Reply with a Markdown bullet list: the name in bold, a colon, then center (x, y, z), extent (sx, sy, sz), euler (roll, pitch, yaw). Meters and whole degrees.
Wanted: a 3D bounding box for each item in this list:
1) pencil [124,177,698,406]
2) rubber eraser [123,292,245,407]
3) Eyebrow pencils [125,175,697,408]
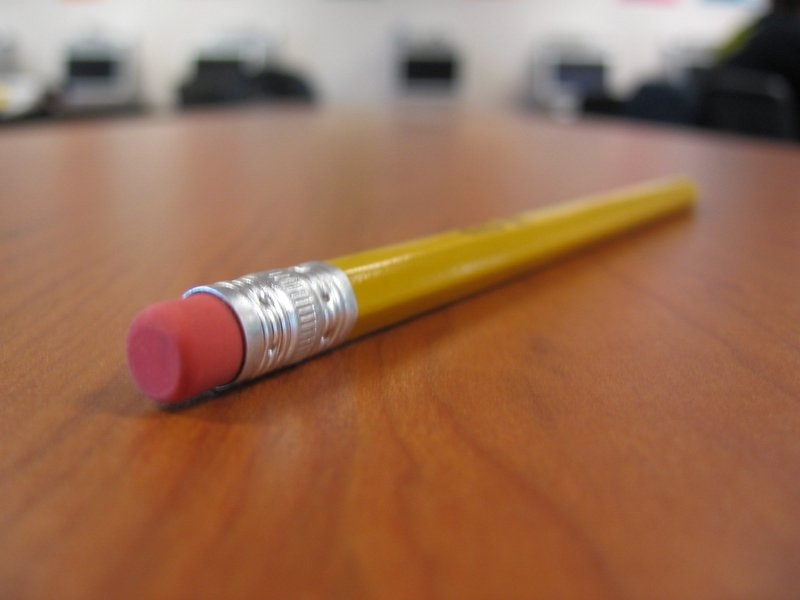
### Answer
- **pencil**: center (0.171, -0.112, 0.637), extent (0.871, 0.117, 0.109), euler (-19, -11, -40)
- **rubber eraser**: center (-0.104, 0.024, 0.307), extent (0.052, 0.043, 0.035), euler (-14, 28, -26)
- **Eyebrow pencils**: center (0.178, -0.116, 0.641), extent (0.885, 0.116, 0.109), euler (-19, -10, -40)
